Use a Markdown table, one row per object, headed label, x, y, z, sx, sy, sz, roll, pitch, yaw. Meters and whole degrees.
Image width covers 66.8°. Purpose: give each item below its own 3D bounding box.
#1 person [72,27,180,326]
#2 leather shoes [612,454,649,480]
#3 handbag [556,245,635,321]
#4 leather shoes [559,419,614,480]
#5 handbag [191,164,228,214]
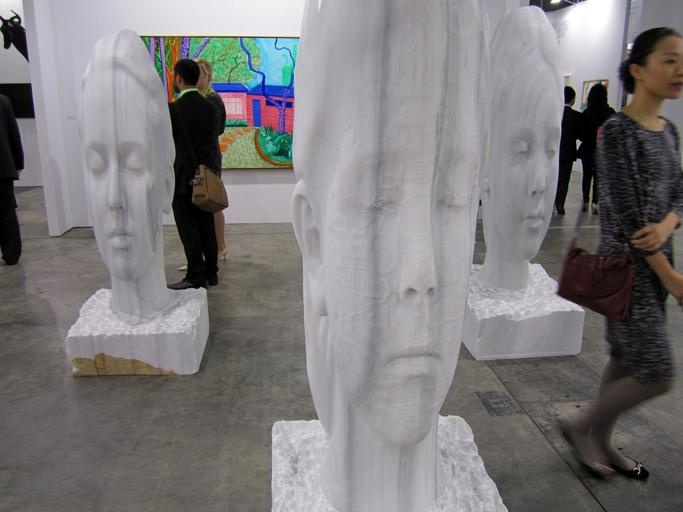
| label | x | y | z | sx | sy | sz | roll | pitch | yaw |
| --- | --- | --- | --- | --- | --- | --- | --- | --- | --- |
| person | -1.281 | -0.500 | 3.204 | 0.554 | 1.680 | 0.400 | -18 | 25 | -41 |
| leather shoes | 1.358 | 0.989 | 2.438 | 0.080 | 0.033 | 0.148 | -14 | 11 | -36 |
| handbag | 1.081 | 0.109 | 2.209 | 0.127 | 0.362 | 0.370 | -4 | 13 | -12 |
| leather shoes | 1.158 | 0.923 | 2.480 | 0.112 | 0.333 | 0.131 | -35 | -18 | 5 |
| handbag | -1.054 | -0.541 | 4.073 | 0.279 | 0.367 | 0.252 | -12 | 22 | -27 |
